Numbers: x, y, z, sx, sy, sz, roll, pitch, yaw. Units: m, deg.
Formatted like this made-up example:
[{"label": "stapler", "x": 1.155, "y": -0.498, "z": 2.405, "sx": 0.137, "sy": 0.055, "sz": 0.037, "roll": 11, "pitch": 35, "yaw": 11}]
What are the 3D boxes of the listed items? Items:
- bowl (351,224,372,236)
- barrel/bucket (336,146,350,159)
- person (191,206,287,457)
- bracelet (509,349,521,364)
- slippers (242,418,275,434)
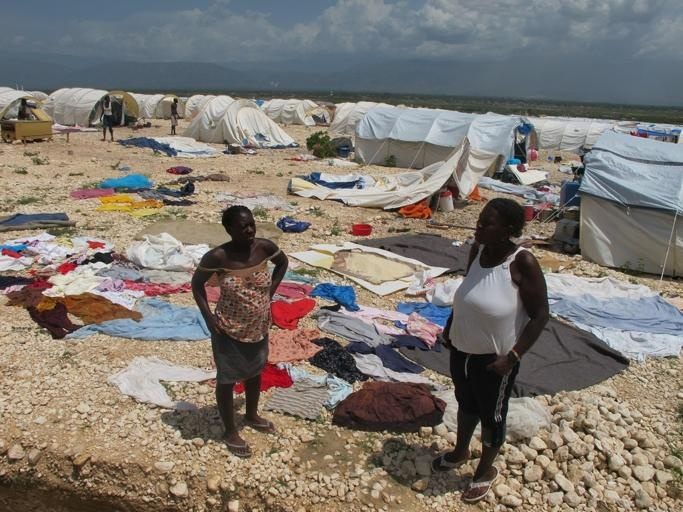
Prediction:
[{"label": "bowl", "x": 0.432, "y": -0.569, "z": 11.135, "sx": 0.444, "sy": 0.227, "sz": 0.412, "roll": 4, "pitch": 18, "yaw": -1}, {"label": "barrel/bucket", "x": 0.098, "y": -4.536, "z": 21.975, "sx": 0.746, "sy": 0.426, "sz": 0.597, "roll": -7, "pitch": 24, "yaw": -4}, {"label": "person", "x": -0.973, "y": 0.726, "z": 4.685, "sx": 0.768, "sy": 2.381, "sz": 0.742, "roll": 2, "pitch": 23, "yaw": -12}, {"label": "bracelet", "x": 1.427, "y": 0.815, "z": 4.103, "sx": 0.103, "sy": 0.095, "sz": 0.042, "roll": 16, "pitch": 53, "yaw": 45}, {"label": "slippers", "x": -0.831, "y": 1.713, "z": 5.088, "sx": 0.299, "sy": 0.050, "sz": 0.134, "roll": 8, "pitch": 26, "yaw": 7}]
